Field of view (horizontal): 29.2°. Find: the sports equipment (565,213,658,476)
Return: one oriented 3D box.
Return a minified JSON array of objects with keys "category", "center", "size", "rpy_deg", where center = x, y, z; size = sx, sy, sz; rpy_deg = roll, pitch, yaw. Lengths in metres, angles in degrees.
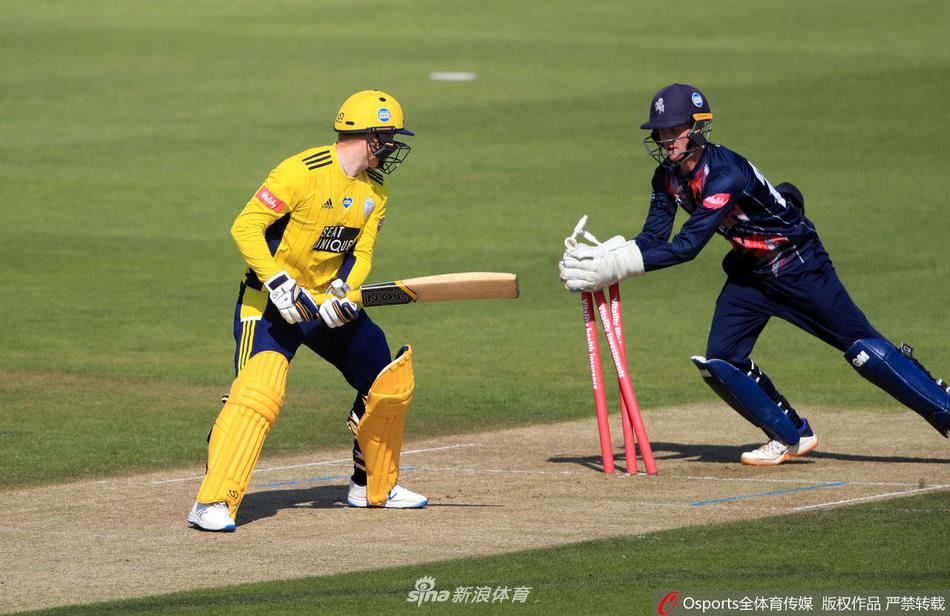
[{"category":"sports equipment","center":[1.462,0.408,20.211],"size":[0.850,3.100,0.478],"rpy_deg":[-9,4,11]}]

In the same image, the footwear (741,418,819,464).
[{"category":"footwear","center":[3.488,1.489,20.370],"size":[1.134,0.386,0.343],"rpy_deg":[-9,4,-11]}]

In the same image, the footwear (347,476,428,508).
[{"category":"footwear","center":[-0.890,1.985,19.481],"size":[0.976,0.307,0.288],"rpy_deg":[0,-3,1]}]

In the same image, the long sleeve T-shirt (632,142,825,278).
[{"category":"long sleeve T-shirt","center":[2.919,-1.089,20.286],"size":[2.190,1.304,1.269],"rpy_deg":[-12,9,-8]}]

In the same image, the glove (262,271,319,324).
[{"category":"glove","center":[-1.927,-0.103,18.989],"size":[0.449,0.597,0.255],"rpy_deg":[-44,10,6]}]
